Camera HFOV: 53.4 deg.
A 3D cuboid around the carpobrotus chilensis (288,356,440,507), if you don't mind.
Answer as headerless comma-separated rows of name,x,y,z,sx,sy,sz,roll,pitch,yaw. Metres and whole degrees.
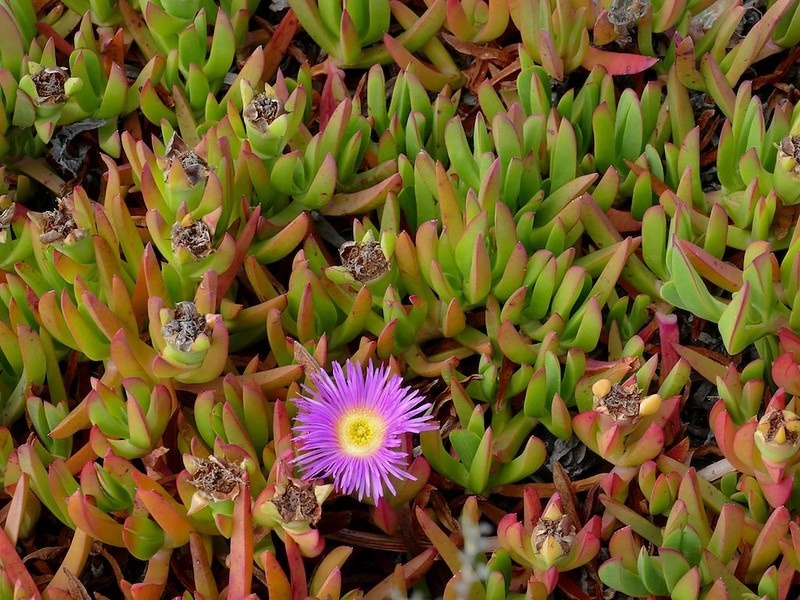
carpobrotus chilensis,-0.061,0.129,0.957,0.127,0.130,0.064,-13,99,35
